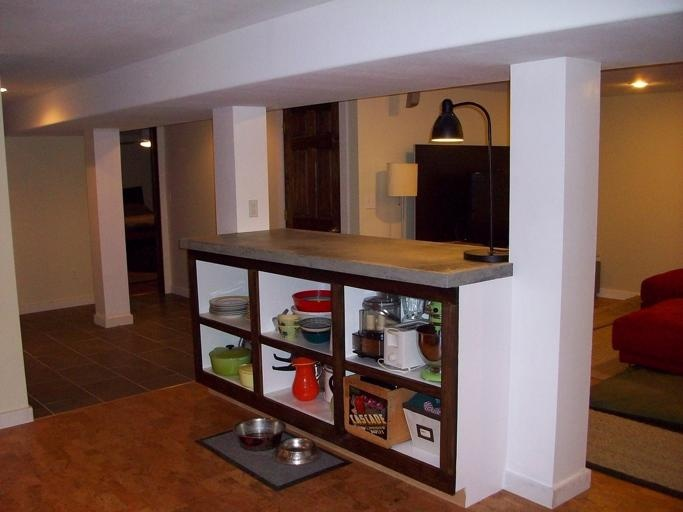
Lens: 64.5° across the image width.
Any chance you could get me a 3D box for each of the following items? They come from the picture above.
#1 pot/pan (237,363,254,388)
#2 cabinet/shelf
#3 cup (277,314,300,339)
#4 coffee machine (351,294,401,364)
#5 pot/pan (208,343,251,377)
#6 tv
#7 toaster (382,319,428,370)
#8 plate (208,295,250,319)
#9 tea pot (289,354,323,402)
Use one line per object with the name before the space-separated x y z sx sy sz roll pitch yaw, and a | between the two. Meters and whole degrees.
pot/pan | -0.688 0.870 3.921 0.144 0.108 0.157 0 0 2
cabinet/shelf | -0.073 0.548 3.802 2.590 1.310 0.898 8 13 43
cup | -0.358 0.467 3.597 0.138 0.113 0.150 -1 4 0
coffee machine | 0.199 0.423 3.189 0.367 0.361 0.266 -4 9 -23
pot/pan | -0.864 0.795 4.136 0.230 0.119 0.292 6 5 35
tv | 1.539 -0.762 6.831 1.753 1.194 0.039 -2 3 -40
toaster | 0.372 0.506 3.100 0.145 0.225 0.280 5 6 37
plate | -0.871 0.386 4.158 0.201 0.076 0.200 6 13 26
tea pot | -0.254 0.828 3.752 0.310 0.326 0.238 -1 2 -27
